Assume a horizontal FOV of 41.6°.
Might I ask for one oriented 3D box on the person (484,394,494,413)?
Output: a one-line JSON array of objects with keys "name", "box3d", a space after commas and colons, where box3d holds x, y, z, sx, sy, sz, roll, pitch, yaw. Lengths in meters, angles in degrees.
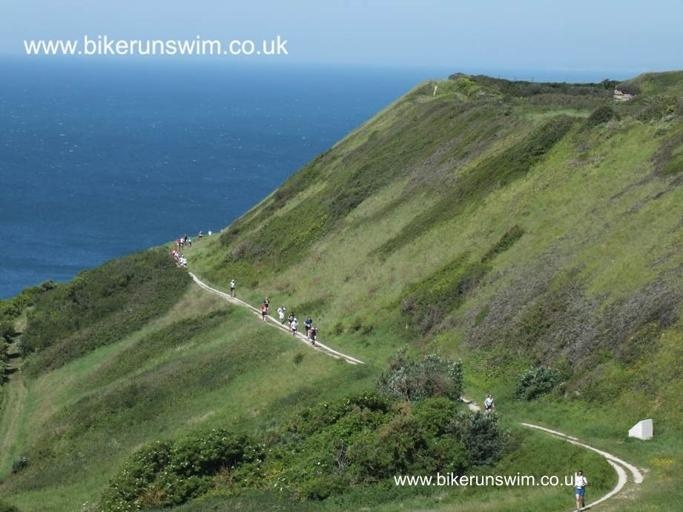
[{"name": "person", "box3d": [13.032, 13.008, 79.760, 0.954, 1.270, 2.804, -11, 4, 8]}]
